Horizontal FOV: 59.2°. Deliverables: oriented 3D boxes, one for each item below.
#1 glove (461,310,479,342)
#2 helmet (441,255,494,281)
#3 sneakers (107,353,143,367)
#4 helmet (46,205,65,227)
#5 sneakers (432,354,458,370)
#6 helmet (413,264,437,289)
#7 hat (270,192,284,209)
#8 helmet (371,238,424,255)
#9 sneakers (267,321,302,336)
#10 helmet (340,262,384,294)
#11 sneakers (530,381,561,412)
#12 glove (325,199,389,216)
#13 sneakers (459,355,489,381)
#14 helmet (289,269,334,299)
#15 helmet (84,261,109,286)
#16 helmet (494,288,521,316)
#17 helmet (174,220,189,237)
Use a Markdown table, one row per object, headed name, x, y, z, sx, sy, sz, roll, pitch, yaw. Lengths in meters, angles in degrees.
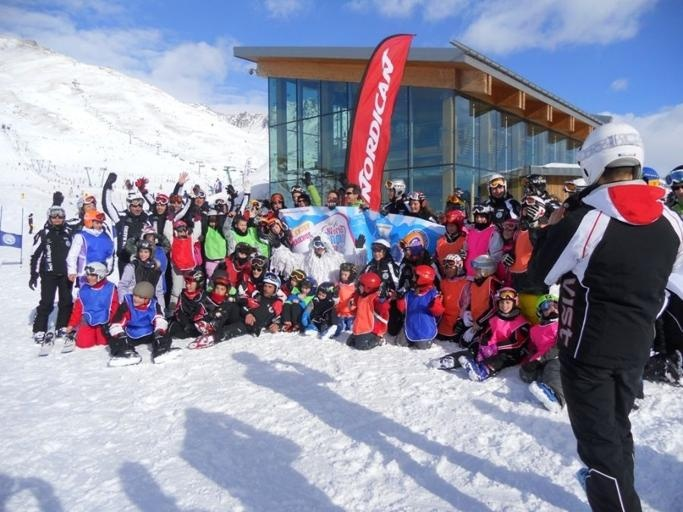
| name | x | y | z | sx | sy | sz | roll | pitch | yaw |
| --- | --- | --- | --- | --- | --- | --- | --- | --- | --- |
| glove | 1.758 | 0.963 | 8.245 | 0.204 | 0.403 | 0.126 | 1 | -18 | -9 |
| helmet | 1.798 | 0.138 | 8.329 | 0.502 | 0.230 | 0.338 | -6 | 1 | 33 |
| sneakers | -3.016 | 1.452 | 8.396 | 0.323 | 0.127 | 0.196 | -2 | 4 | -28 |
| helmet | -4.602 | -0.670 | 9.877 | 0.264 | 0.378 | 0.352 | -4 | -6 | -37 |
| sneakers | 1.312 | 1.369 | 7.718 | 0.262 | 0.168 | 0.109 | -5 | -5 | 17 |
| helmet | 1.193 | 0.288 | 8.635 | 0.305 | 0.310 | 0.246 | 13 | 6 | 28 |
| hat | -1.202 | -0.988 | 11.331 | 0.259 | 0.349 | 0.348 | -5 | 46 | -11 |
| helmet | 0.985 | -0.162 | 9.381 | 0.477 | 0.219 | 0.368 | -7 | 6 | -2 |
| sneakers | -0.884 | 1.116 | 9.498 | 0.373 | 0.158 | 0.231 | 5 | -22 | -42 |
| helmet | 0.279 | 0.334 | 9.082 | 0.554 | 0.320 | 0.379 | 5 | -3 | 13 |
| sneakers | 2.307 | 1.591 | 6.802 | 0.185 | 0.207 | 0.356 | -26 | 56 | -25 |
| glove | 0.150 | -0.882 | 10.340 | 0.615 | 0.206 | 0.460 | 11 | 10 | 6 |
| sneakers | 1.639 | 1.399 | 7.460 | 0.197 | 0.158 | 0.449 | 8 | 14 | -17 |
| helmet | -0.578 | 0.439 | 9.854 | 0.444 | 0.355 | 0.607 | 0 | -6 | 19 |
| helmet | -3.686 | 0.267 | 9.265 | 0.273 | 0.383 | 0.370 | 7 | 4 | 7 |
| helmet | 2.110 | 0.587 | 7.700 | 0.251 | 0.360 | 0.345 | -8 | -17 | 29 |
| helmet | -2.747 | -0.485 | 10.271 | 0.208 | 0.316 | 0.278 | -3 | -2 | -30 |
